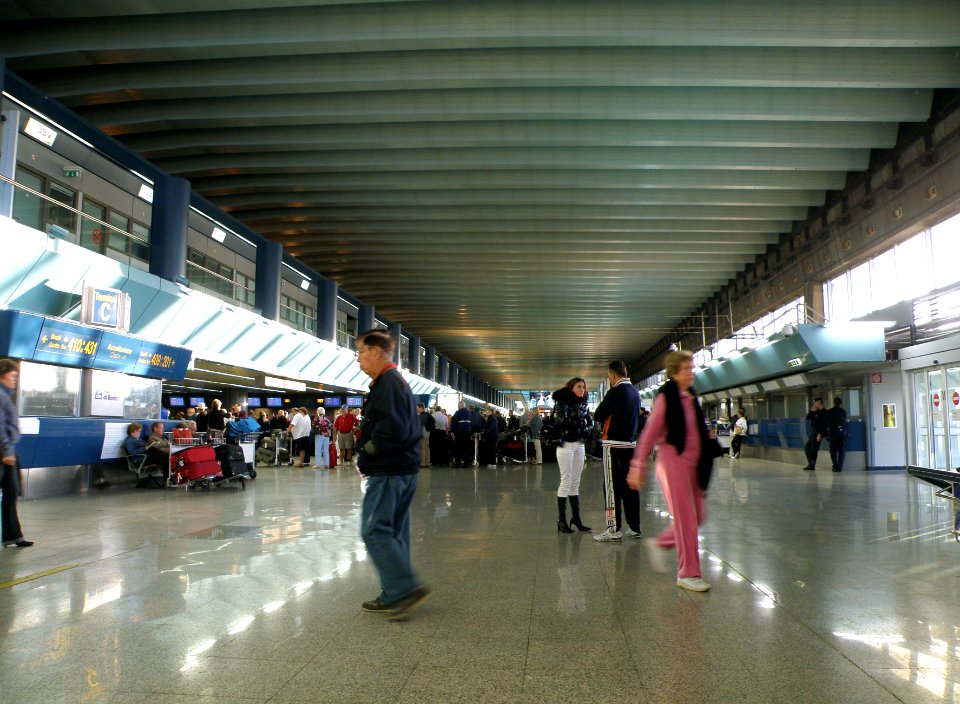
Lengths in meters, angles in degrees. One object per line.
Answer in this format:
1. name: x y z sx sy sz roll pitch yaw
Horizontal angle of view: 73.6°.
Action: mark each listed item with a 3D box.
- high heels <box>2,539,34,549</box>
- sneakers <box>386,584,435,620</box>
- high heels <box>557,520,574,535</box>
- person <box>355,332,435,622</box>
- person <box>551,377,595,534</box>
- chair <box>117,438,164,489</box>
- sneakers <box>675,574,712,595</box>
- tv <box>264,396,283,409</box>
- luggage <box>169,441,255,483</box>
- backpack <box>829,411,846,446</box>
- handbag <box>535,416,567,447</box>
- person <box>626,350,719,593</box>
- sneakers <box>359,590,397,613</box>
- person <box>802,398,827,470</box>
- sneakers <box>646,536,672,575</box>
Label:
1. high heels: -4.929 2.085 6.984 0.267 0.110 0.094 9 -4 -17
2. sneakers: -0.505 1.871 4.820 0.299 0.110 0.160 -36 -7 -9
3. high heels: 1.046 2.146 7.866 0.212 0.146 0.088 -1 -5 3
4. person: -0.654 0.859 4.947 0.499 2.189 0.461 5 -12 -31
5. person: 1.126 1.243 7.731 0.462 1.817 0.605 -3 -10 9
6. chair: -6.718 2.286 13.300 0.868 0.974 0.925 -1 -2 -22
7. sneakers: 1.744 1.924 5.329 0.096 0.099 0.234 7 -14 -44
8. tv: -10.350 2.525 32.988 0.942 0.653 0.501 2 6 -3
9. luggage: -5.339 2.270 12.910 0.801 0.576 1.178 -2 3 -36
10. backpack: 9.463 1.974 17.163 0.504 0.986 0.276 5 -12 -32
11. handbag: 0.861 0.936 7.665 0.179 0.384 0.402 2 -11 -19
12. person: 1.695 1.003 5.658 0.731 2.034 0.694 -3 -10 8
13. sneakers: -0.736 1.889 4.871 0.294 0.132 0.115 0 -9 11
14. person: 9.260 2.285 17.987 0.617 1.942 1.606 -6 -11 25
15. sneakers: 1.784 2.055 6.445 0.193 0.254 0.620 1 -24 6
